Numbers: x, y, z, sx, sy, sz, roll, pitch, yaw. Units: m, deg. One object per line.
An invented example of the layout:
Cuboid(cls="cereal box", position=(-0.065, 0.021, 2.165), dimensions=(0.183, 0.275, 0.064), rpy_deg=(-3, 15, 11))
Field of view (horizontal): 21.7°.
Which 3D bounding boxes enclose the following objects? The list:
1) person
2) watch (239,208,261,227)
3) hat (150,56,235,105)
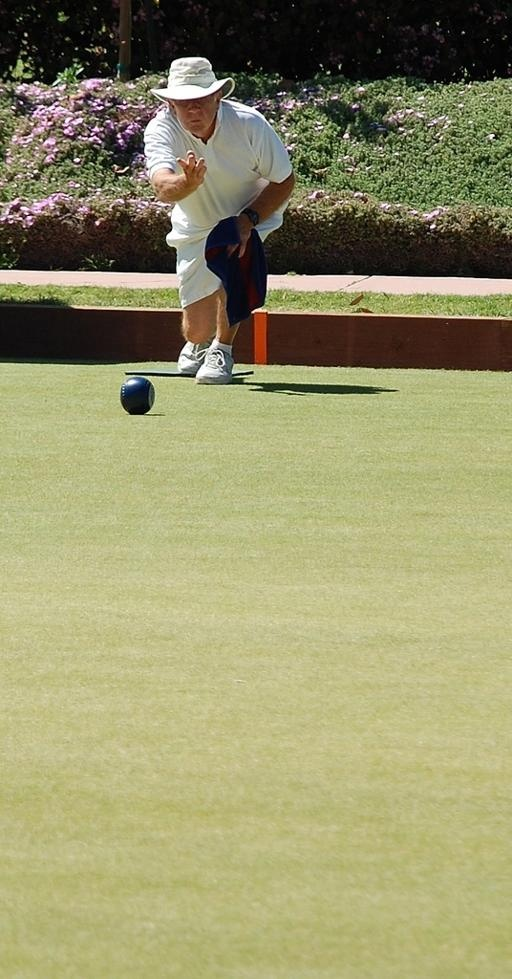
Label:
Cuboid(cls="person", position=(-0.153, -1.136, 5.847), dimensions=(0.639, 1.401, 1.084), rpy_deg=(0, 15, 0))
Cuboid(cls="watch", position=(-0.020, -1.175, 5.818), dimensions=(0.059, 0.091, 0.084), rpy_deg=(-37, -12, -15))
Cuboid(cls="hat", position=(-0.252, -1.717, 5.745), dimensions=(0.311, 0.175, 0.377), rpy_deg=(-4, 14, 6))
